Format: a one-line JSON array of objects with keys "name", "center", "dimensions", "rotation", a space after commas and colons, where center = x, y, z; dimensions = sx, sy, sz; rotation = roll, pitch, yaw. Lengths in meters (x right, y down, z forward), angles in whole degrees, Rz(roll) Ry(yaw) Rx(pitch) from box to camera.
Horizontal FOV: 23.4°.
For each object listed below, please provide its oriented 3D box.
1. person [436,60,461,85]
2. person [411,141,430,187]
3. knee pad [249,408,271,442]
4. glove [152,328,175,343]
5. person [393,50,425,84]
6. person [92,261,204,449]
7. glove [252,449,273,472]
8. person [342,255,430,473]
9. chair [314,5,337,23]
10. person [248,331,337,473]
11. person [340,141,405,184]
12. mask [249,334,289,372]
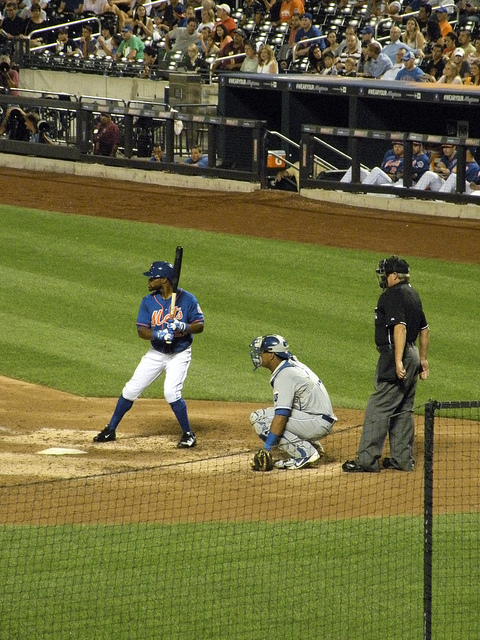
[{"name": "person", "center": [3.787, -4.478, 21.063], "dimensions": [0.437, 0.409, 0.779], "rotation": [1, 13, 9]}, {"name": "person", "center": [2.952, -2.516, 18.982], "dimensions": [0.292, 0.749, 0.430], "rotation": [1, 13, 9]}, {"name": "knee pad", "center": [0.151, 0.799, 8.831], "dimensions": [0.220, 0.121, 0.163], "rotation": [32, 15, -10]}, {"name": "glove", "center": [-0.596, 0.132, 9.199], "dimensions": [0.104, 0.070, 0.142], "rotation": [5, 2, 6]}, {"name": "person", "center": [3.112, -4.651, 21.282], "dimensions": [0.547, 0.578, 1.172], "rotation": [0, 13, 8]}, {"name": "person", "center": [-0.697, 0.279, 9.465], "dimensions": [0.801, 1.513, 0.998], "rotation": [-2, 13, -4]}, {"name": "glove", "center": [0.173, 1.026, 8.437], "dimensions": [0.141, 0.203, 0.149], "rotation": [1, 10, 21]}, {"name": "person", "center": [1.091, 0.344, 8.559], "dimensions": [0.502, 1.530, 0.831], "rotation": [3, 14, 20]}, {"name": "chair", "center": [1.958, -7.083, 26.756], "dimensions": [0.350, 0.185, 0.476], "rotation": [0, -18, -7]}, {"name": "person", "center": [0.398, 0.637, 8.692], "dimensions": [0.634, 1.045, 0.909], "rotation": [-1, 13, 2]}, {"name": "person", "center": [2.405, -2.622, 19.464], "dimensions": [0.390, 0.784, 1.184], "rotation": [-6, 13, -21]}, {"name": "mask", "center": [0.211, 0.251, 8.620], "dimensions": [0.269, 0.227, 0.202], "rotation": [3, 5, 14]}]
